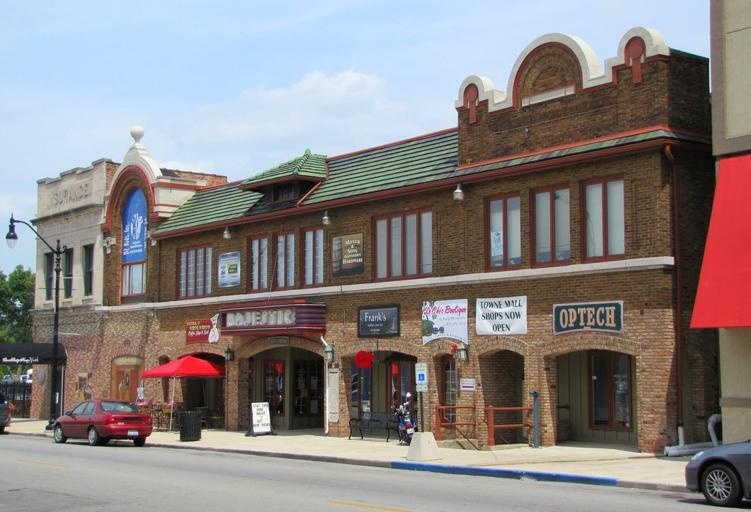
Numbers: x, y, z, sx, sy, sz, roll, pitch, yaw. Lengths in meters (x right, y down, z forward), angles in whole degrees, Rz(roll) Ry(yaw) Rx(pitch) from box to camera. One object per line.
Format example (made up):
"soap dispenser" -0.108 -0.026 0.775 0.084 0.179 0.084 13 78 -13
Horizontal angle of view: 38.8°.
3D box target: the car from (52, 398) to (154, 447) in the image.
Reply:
"car" -10.974 6.574 42.239 3.615 1.782 1.411 -8 -17 26

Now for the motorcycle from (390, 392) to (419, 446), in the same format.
"motorcycle" 1.120 6.241 40.239 0.941 1.157 1.775 -7 1 3

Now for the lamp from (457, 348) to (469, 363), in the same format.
"lamp" 3.230 3.674 39.603 0.483 0.474 0.492 -2 -4 10

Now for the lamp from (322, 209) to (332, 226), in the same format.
"lamp" -2.070 -1.617 44.372 0.509 0.868 0.518 0 -8 5

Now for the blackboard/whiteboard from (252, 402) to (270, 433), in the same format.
"blackboard/whiteboard" -4.885 6.813 45.075 1.095 1.245 0.613 7 -13 -43

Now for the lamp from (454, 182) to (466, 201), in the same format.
"lamp" 3.098 -2.404 39.872 0.515 0.795 0.515 3 -4 -13

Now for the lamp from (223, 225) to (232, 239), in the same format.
"lamp" -6.771 -1.052 48.720 0.372 0.556 0.885 2 -15 -9

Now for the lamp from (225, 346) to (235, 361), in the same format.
"lamp" -6.577 4.336 47.934 0.516 0.743 0.566 3 -8 -10
